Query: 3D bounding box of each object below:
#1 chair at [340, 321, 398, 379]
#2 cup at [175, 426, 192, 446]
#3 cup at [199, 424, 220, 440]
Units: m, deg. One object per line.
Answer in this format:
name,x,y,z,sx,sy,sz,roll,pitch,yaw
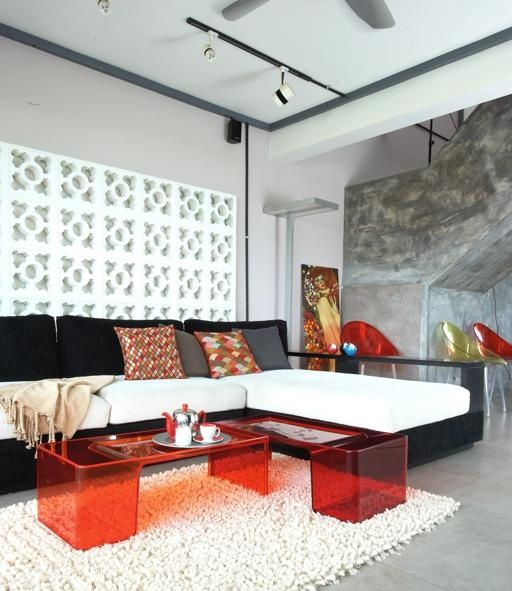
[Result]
chair,1.352,0.627,5.919,0.638,0.743,0.649,1,-5,-21
cup,-0.310,0.604,2.093,0.076,0.065,0.075,1,0,0
cup,-0.207,0.610,2.196,0.091,0.057,0.069,2,-5,-10
